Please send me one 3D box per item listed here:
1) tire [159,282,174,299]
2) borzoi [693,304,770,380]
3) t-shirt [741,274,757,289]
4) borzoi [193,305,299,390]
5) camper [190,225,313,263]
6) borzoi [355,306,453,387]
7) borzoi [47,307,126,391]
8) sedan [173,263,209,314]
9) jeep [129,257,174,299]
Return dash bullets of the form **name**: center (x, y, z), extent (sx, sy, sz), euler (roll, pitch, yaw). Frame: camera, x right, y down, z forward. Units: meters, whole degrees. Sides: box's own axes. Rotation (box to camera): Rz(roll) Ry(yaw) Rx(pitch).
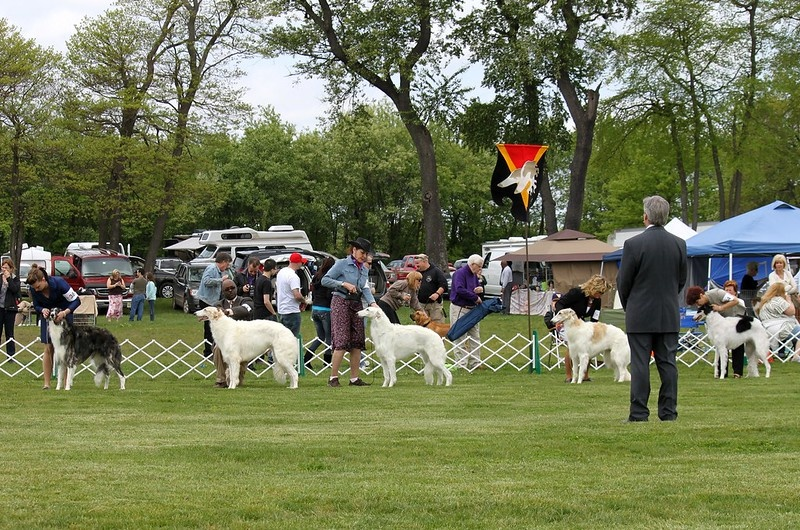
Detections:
- **tire**: center (-10.502, 1.145, 61.885), extent (0.751, 0.725, 0.247), euler (-6, 3, 12)
- **borzoi**: center (9.907, 2.309, 40.833), extent (2.105, 2.109, 0.838), euler (1, -4, 8)
- **t-shirt**: center (11.474, 0.607, 45.397), extent (0.460, 0.598, 0.631), euler (-2, 3, -17)
- **borzoi**: center (-4.420, 2.436, 40.234), extent (2.944, 2.197, 0.843), euler (2, -1, -4)
- **camper**: center (-6.145, -0.378, 59.983), extent (5.231, 2.460, 2.125), euler (-2, 3, 1)
- **borzoi**: center (0.135, 2.471, 40.484), extent (2.813, 2.242, 0.871), euler (4, -2, -16)
- **borzoi**: center (-9.291, 2.567, 40.241), extent (2.540, 2.020, 0.780), euler (7, -10, -44)
- **sedan**: center (-8.252, 0.827, 56.695), extent (1.844, 1.662, 3.416), euler (-2, 12, -20)
- **jeep**: center (-11.263, 0.700, 63.517), extent (1.481, 1.426, 2.611), euler (11, -2, -20)
